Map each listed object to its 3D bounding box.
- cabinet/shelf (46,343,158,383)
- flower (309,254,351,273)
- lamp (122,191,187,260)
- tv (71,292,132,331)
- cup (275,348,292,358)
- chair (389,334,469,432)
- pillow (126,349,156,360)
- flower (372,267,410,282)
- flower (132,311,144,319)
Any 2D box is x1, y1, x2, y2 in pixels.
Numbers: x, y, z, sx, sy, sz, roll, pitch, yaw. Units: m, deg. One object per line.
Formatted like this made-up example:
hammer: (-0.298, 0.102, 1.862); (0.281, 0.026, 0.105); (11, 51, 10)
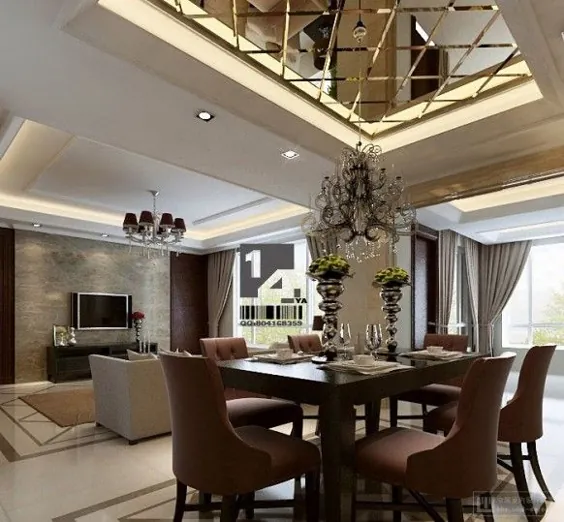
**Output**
cabinet/shelf: (-3.100, 1.705, 7.589); (1.796, 0.541, 0.435); (6, -10, -44)
flower: (0.298, 0.025, 2.703); (0.158, 0.068, 0.151); (2, -4, -5)
lamp: (-1.846, -0.557, 6.289); (0.912, 0.888, 0.839); (-3, -7, 33)
tv: (-3.245, 0.892, 7.833); (0.140, 0.688, 1.158); (-12, -14, 40)
cup: (0.013, 0.559, 2.707); (0.069, 0.039, 0.071); (2, -1, 0)
chair: (1.193, 1.007, 3.450); (0.569, 0.804, 0.523); (-7, 7, -20)
pillow: (-1.305, 0.884, 4.092); (0.211, 0.067, 0.237); (7, -7, 16)
flower: (0.916, 0.108, 3.696); (0.187, 0.093, 0.184); (-2, -5, 27)
flower: (-2.719, 0.999, 8.147); (0.155, 0.101, 0.149); (5, -3, 12)
